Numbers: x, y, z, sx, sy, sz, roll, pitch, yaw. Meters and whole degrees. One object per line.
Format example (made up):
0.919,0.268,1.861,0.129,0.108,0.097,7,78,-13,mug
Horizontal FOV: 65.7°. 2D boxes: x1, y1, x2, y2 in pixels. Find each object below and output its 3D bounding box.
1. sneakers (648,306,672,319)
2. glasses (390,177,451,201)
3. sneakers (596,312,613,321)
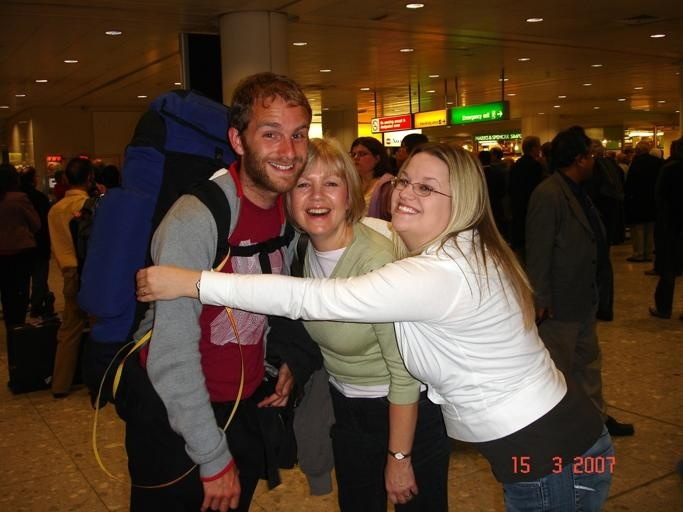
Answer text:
4.368,0.775,7.316,0.118,0.126,0.297,-9,23,-18,sneakers
0.310,-0.285,2.199,0.136,0.039,0.130,12,7,-44,glasses
2.215,0.508,4.456,0.137,0.100,0.134,0,-4,9,sneakers
